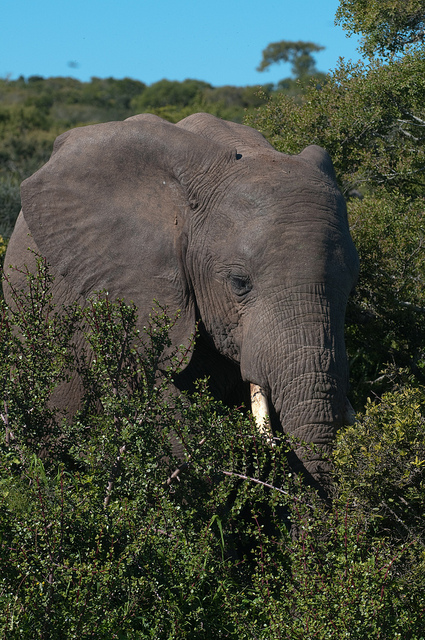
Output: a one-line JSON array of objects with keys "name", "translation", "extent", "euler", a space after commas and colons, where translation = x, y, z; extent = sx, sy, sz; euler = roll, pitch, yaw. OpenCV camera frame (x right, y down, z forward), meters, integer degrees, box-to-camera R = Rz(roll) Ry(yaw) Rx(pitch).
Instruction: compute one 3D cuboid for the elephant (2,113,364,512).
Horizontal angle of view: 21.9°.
[{"name": "elephant", "translation": [-0.262, -0.213, 5.987], "extent": [1.508, 1.833, 2.309], "euler": [-4, 0, -37]}]
